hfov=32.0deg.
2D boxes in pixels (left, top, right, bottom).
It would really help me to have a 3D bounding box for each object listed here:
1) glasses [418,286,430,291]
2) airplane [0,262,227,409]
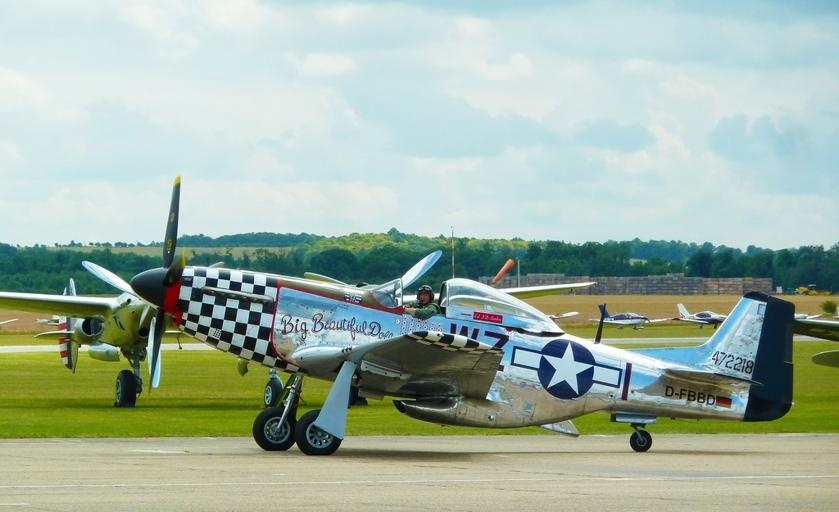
[{"bbox_3d":[0.078,0.893,38.320,0.157,0.139,0.191,8,14,16],"label":"glasses"},{"bbox_3d":[-11.345,2.183,46.862,7.061,2.819,5.747,7,-8,-27],"label":"airplane"}]
